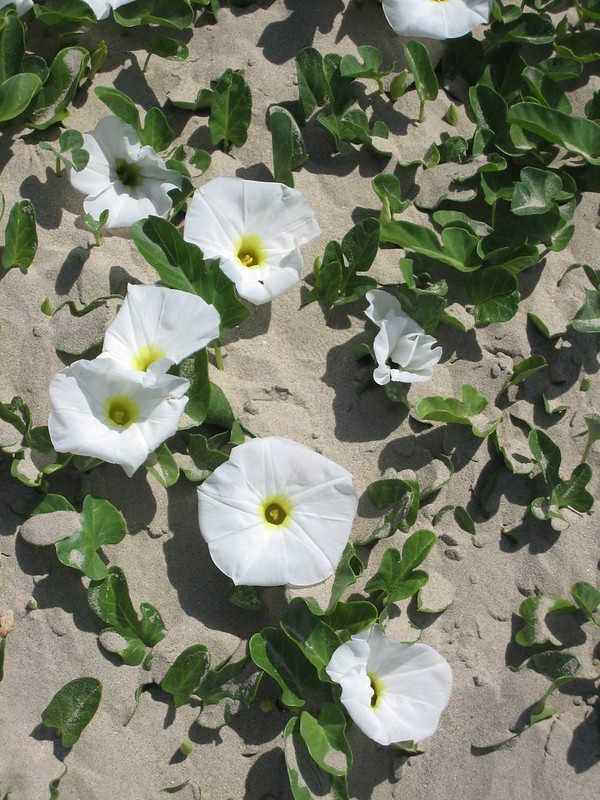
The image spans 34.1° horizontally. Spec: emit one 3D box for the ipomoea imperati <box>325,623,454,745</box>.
[{"bbox_3d":[0.234,0.744,2.544,0.344,0.172,0.311,9,73,-16],"label":"ipomoea imperati"}]

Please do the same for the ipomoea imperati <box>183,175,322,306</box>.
[{"bbox_3d":[-0.116,-0.480,2.765,0.352,0.127,0.385,-39,84,-8],"label":"ipomoea imperati"}]

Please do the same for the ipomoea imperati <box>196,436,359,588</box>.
[{"bbox_3d":[-0.057,0.288,2.549,0.409,0.105,0.382,-3,80,-3],"label":"ipomoea imperati"}]

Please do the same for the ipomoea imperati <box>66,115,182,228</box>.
[{"bbox_3d":[-0.534,-0.645,2.875,0.288,0.131,0.321,-44,84,-8],"label":"ipomoea imperati"}]

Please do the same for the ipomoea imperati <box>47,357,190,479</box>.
[{"bbox_3d":[-0.467,0.043,2.504,0.339,0.110,0.290,4,80,-1],"label":"ipomoea imperati"}]

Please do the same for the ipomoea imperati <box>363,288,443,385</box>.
[{"bbox_3d":[0.298,-0.183,2.878,0.200,0.179,0.285,-5,80,-3],"label":"ipomoea imperati"}]
